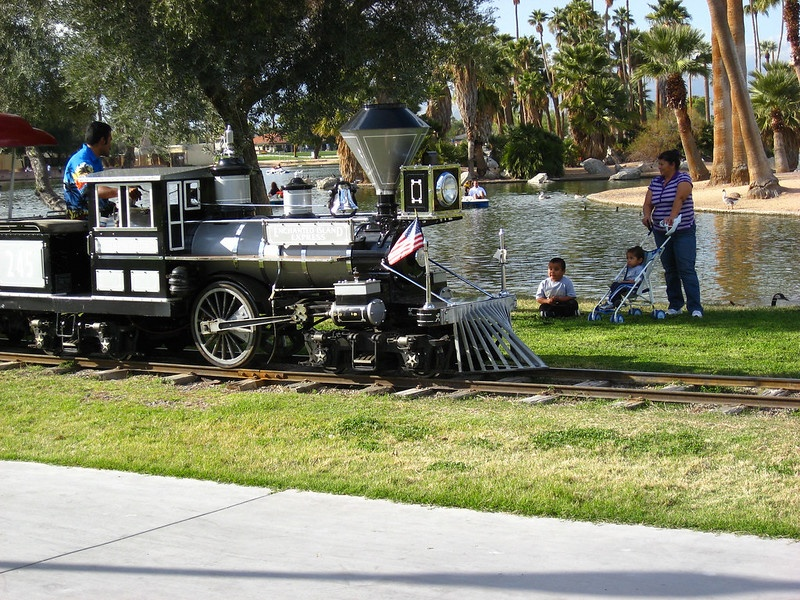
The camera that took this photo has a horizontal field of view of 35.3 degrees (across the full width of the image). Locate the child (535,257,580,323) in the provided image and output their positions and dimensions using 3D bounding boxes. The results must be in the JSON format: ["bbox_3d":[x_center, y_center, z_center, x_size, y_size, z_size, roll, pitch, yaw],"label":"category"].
[{"bbox_3d":[2.471,-0.175,19.864,0.760,0.929,0.785,0,16,15],"label":"child"}]

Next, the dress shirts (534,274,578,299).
[{"bbox_3d":[2.449,-0.155,19.969,0.647,0.444,0.355,-1,-8,12],"label":"dress shirts"}]

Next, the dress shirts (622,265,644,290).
[{"bbox_3d":[3.584,-0.340,19.310,0.225,0.336,0.384,9,-5,-30],"label":"dress shirts"}]

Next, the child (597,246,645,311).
[{"bbox_3d":[3.447,-0.318,19.424,0.702,1.027,1.143,1,12,10],"label":"child"}]

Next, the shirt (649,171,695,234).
[{"bbox_3d":[4.012,-1.454,18.859,0.701,0.904,0.546,7,15,35],"label":"shirt"}]

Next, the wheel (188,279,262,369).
[{"bbox_3d":[-2.213,0.274,16.153,1.176,1.200,0.387,3,9,37],"label":"wheel"}]

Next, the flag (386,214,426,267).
[{"bbox_3d":[0.059,-0.724,15.061,0.076,0.505,0.475,19,36,-34],"label":"flag"}]

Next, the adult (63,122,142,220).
[{"bbox_3d":[-4.051,-1.620,17.223,1.135,1.594,0.911,4,22,-10],"label":"adult"}]

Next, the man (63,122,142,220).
[{"bbox_3d":[-4.082,-1.613,17.202,1.052,1.583,0.959,5,20,-9],"label":"man"}]
